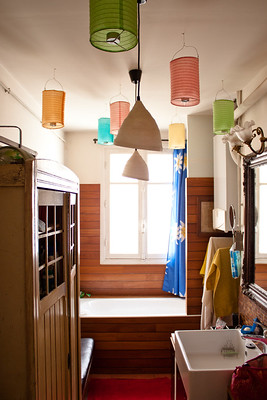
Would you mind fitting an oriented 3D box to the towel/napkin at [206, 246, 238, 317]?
[{"bbox_3d":[0.744,0.686,2.837,0.272,0.557,0.169,0,2,13],"label":"towel/napkin"}]

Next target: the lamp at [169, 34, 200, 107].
[{"bbox_3d":[0.300,-0.758,2.007,0.165,0.377,0.290,0,2,9],"label":"lamp"}]

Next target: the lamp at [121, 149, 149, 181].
[{"bbox_3d":[0.021,-0.255,2.498,0.202,0.246,0.195,-2,5,-43],"label":"lamp"}]
